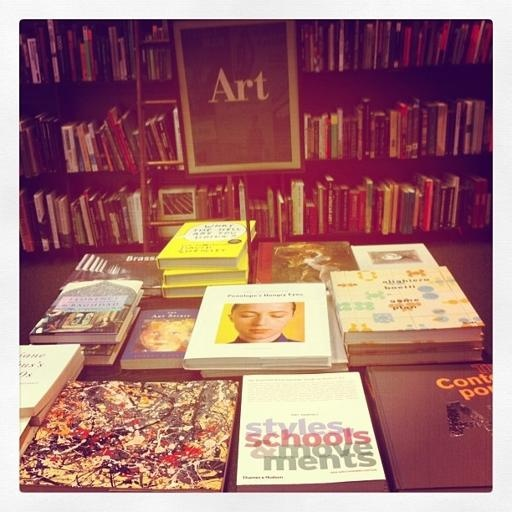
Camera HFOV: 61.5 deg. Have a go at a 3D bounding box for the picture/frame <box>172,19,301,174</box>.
[{"bbox_3d":[-0.051,-0.399,1.137,0.343,0.008,0.371,3,-71,16],"label":"picture/frame"}]
